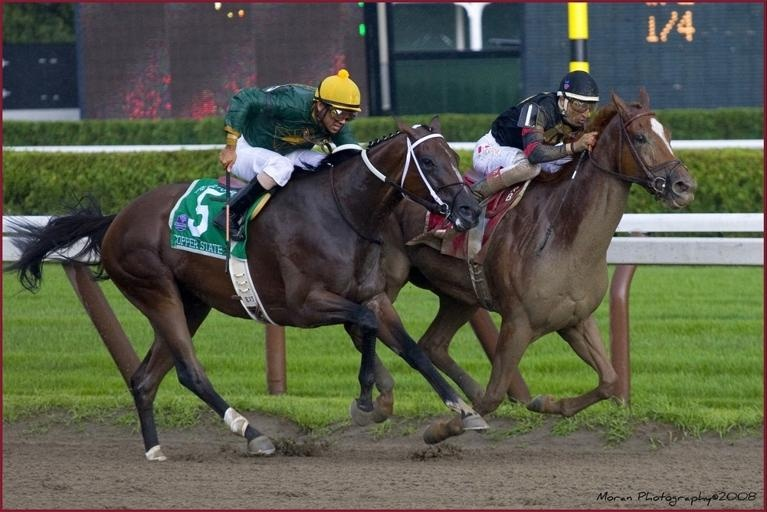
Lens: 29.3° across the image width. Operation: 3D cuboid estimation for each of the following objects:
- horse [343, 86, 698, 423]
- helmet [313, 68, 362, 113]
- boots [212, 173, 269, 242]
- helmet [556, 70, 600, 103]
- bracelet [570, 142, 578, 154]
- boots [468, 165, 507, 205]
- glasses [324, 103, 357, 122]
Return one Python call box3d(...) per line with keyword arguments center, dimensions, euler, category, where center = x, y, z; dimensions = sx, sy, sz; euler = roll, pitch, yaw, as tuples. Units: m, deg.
box3d(center=(1.041, 0.203, 12.476), dimensions=(1.026, 2.760, 4.093), euler=(2, -2, -37), category="horse")
box3d(center=(-0.367, -1.335, 11.825), dimensions=(0.297, 0.222, 0.367), euler=(7, 23, -47), category="helmet")
box3d(center=(-1.163, -0.378, 11.921), dimensions=(0.367, 0.533, 0.216), euler=(29, -3, 5), category="boots")
box3d(center=(1.577, -1.367, 11.947), dimensions=(0.311, 0.241, 0.236), euler=(9, 20, 33), category="helmet")
box3d(center=(1.517, -0.856, 11.716), dimensions=(0.052, 0.019, 0.083), euler=(-1, 49, 5), category="bracelet")
box3d(center=(0.822, -0.586, 12.117), dimensions=(0.341, 0.243, 0.204), euler=(-8, 42, 25), category="boots")
box3d(center=(-0.336, -1.130, 11.771), dimensions=(0.155, 0.067, 0.178), euler=(8, 14, -38), category="glasses")
